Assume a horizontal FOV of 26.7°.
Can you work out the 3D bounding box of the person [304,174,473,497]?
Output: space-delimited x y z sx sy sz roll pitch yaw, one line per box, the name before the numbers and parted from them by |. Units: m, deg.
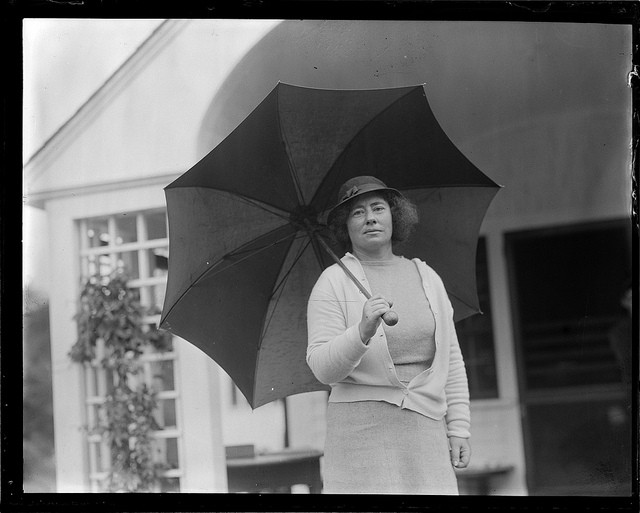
person | 0.240 0.267 4.875 0.573 1.197 0.420 -2 -12 0
